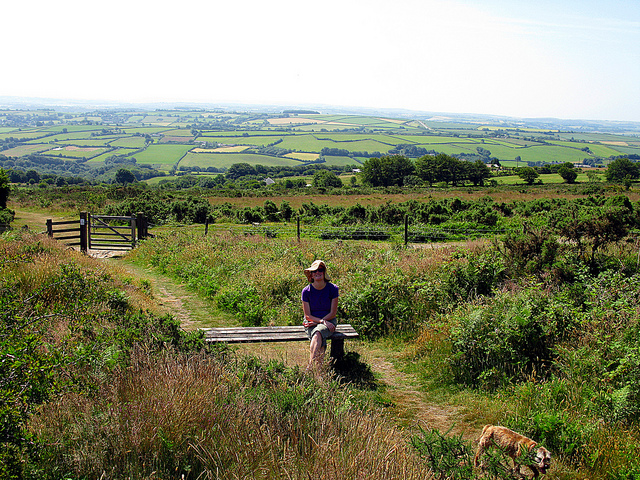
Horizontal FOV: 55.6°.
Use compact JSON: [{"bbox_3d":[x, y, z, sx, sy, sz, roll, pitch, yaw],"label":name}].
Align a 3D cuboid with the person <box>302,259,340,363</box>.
[{"bbox_3d":[0.003,1.215,9.632,0.575,1.702,1.147,2,15,1],"label":"person"}]
